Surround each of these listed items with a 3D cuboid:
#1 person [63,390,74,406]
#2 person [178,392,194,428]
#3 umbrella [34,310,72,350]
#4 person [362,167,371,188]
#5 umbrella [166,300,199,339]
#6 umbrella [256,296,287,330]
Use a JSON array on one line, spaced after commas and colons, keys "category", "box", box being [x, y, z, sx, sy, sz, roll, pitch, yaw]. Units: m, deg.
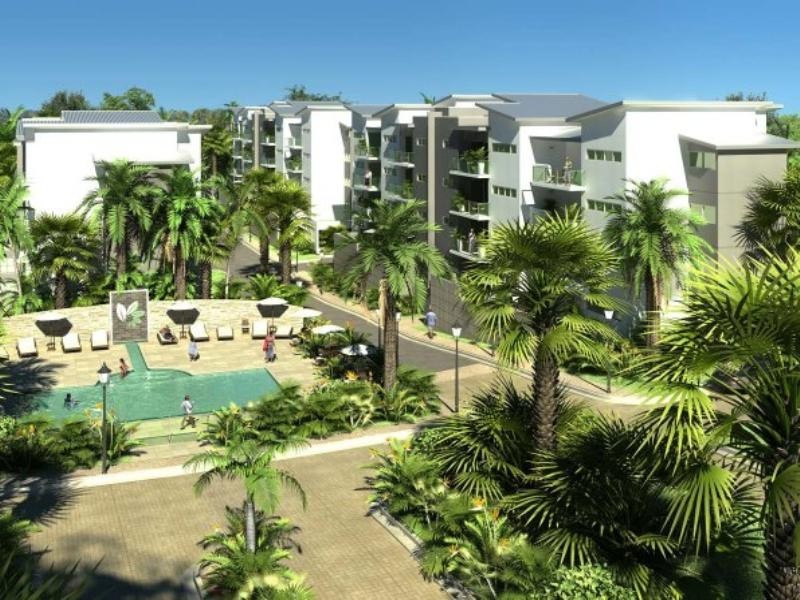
[{"category": "person", "box": [-18.478, 5.355, 33.066, 0.720, 0.832, 0.429, 0, 22, -25]}, {"category": "person", "box": [-10.758, 5.331, 30.114, 0.648, 1.553, 1.450, -5, 7, -19]}, {"category": "umbrella", "box": [-24.325, 2.027, 41.912, 2.015, 2.617, 2.372, -6, 7, -30]}, {"category": "person", "box": [-3.837, -14.892, 72.796, 0.921, 2.388, 1.369, -3, 6, 2]}, {"category": "umbrella", "box": [-16.958, 1.244, 45.957, 2.796, 2.484, 2.650, 4, 7, 0]}, {"category": "umbrella", "box": [-9.279, 0.853, 45.702, 2.743, 2.622, 2.581, 2, 6, -15]}]
